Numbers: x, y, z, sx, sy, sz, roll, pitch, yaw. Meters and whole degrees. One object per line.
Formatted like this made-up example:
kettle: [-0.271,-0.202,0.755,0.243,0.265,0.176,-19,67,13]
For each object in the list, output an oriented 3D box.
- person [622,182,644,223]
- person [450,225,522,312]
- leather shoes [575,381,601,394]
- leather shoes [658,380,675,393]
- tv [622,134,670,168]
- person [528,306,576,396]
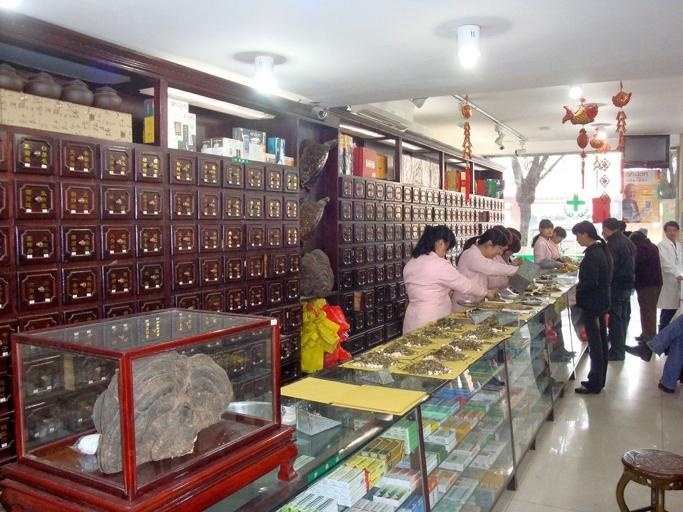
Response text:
person: [6.133,-1.123,10.504,0.334,0.793,0.556,2,7,38]
person: [1.552,0.134,5.293,0.819,1.188,0.445,-1,41,9]
leather shoes: [2.570,1.335,5.181,0.180,0.053,0.136,1,3,11]
leather shoes: [3.358,1.334,5.129,0.108,0.087,0.140,-3,0,-8]
tv: [5.654,-1.990,9.200,0.941,0.693,0.130,2,4,12]
person: [1.925,0.860,4.562,0.253,0.804,0.721,-8,20,27]
